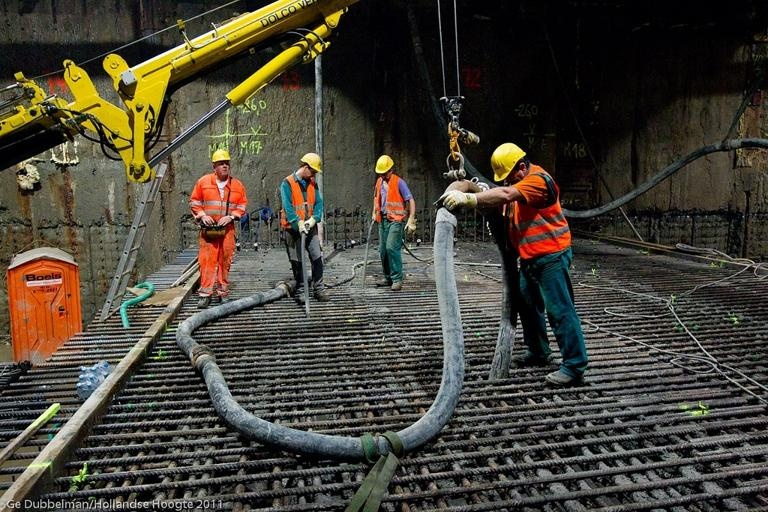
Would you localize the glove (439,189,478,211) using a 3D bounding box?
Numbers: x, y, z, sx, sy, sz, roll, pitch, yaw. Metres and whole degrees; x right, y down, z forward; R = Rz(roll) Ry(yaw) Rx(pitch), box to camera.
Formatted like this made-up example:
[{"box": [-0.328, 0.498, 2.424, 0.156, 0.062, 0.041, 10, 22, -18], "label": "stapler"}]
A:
[{"box": [0.791, -0.608, 5.868, 0.301, 0.130, 0.195, -12, 26, -12], "label": "glove"}]

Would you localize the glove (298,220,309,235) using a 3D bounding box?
[{"box": [-1.216, -0.457, 8.778, 0.125, 0.183, 0.186, 10, 14, 43], "label": "glove"}]

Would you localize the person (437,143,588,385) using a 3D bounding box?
[{"box": [1.654, 0.087, 6.633, 1.471, 2.740, 0.792, -2, 11, -9], "label": "person"}]

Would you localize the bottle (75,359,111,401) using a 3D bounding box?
[{"box": [-3.394, 1.420, 6.744, 0.238, 0.312, 0.667, -5, -1, -9], "label": "bottle"}]

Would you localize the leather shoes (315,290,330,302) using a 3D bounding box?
[{"box": [-0.974, 0.625, 9.109, 0.124, 0.125, 0.272, -5, 0, -31], "label": "leather shoes"}]

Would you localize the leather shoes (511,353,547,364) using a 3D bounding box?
[{"box": [1.770, 1.244, 6.977, 0.408, 0.192, 0.153, 2, -5, 5], "label": "leather shoes"}]

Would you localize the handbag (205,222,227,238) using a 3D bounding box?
[{"box": [-2.655, -0.427, 9.015, 0.277, 0.194, 0.206, -3, 10, -6], "label": "handbag"}]

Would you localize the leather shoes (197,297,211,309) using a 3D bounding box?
[{"box": [-2.785, 0.688, 8.854, 0.188, 0.153, 0.247, -4, 11, -18], "label": "leather shoes"}]

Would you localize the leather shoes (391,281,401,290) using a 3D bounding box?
[{"box": [0.217, 0.498, 9.672, 0.081, 0.100, 0.226, -12, -5, 19], "label": "leather shoes"}]

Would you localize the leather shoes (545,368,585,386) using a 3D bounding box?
[{"box": [2.088, 1.411, 6.578, 0.387, 0.184, 0.182, 7, -20, 2], "label": "leather shoes"}]
